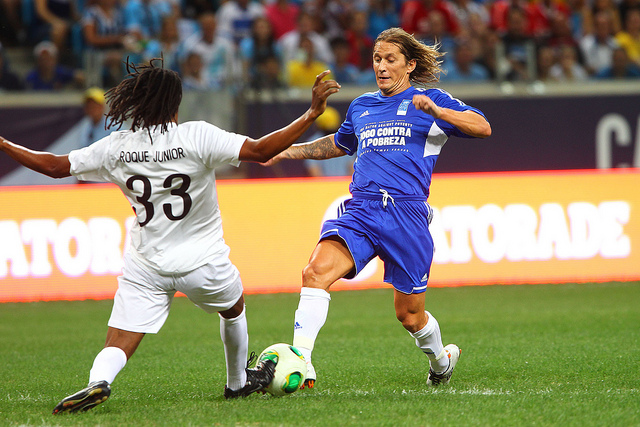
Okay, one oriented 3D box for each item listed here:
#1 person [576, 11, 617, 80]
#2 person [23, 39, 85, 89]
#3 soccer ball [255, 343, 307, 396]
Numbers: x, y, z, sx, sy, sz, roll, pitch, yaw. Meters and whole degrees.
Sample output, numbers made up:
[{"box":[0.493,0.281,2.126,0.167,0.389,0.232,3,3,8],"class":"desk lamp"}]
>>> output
[{"box":[4.690,-2.842,15.142,0.684,1.019,0.447,4,-5,3],"class":"person"},{"box":[-4.702,-2.639,15.990,1.297,0.705,0.523,-3,-10,-5],"class":"person"},{"box":[-0.269,1.428,8.437,0.419,0.480,0.460,-12,32,7],"class":"soccer ball"}]
